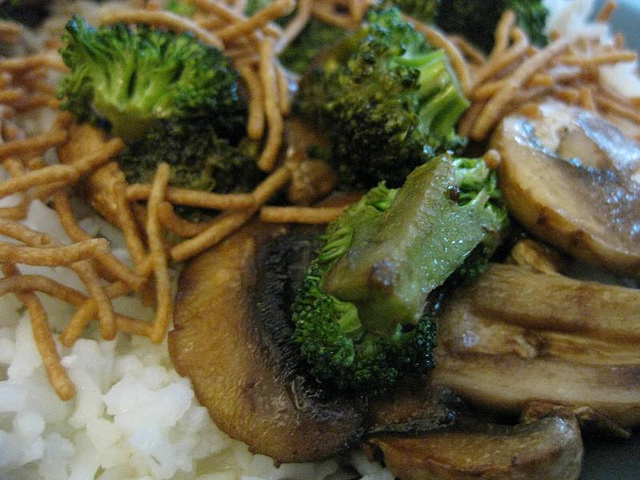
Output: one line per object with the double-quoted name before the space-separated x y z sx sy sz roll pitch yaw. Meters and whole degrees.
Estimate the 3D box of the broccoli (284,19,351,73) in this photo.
"broccoli" -0.009 -0.787 2.853 0.240 0.070 0.239 7 64 11
